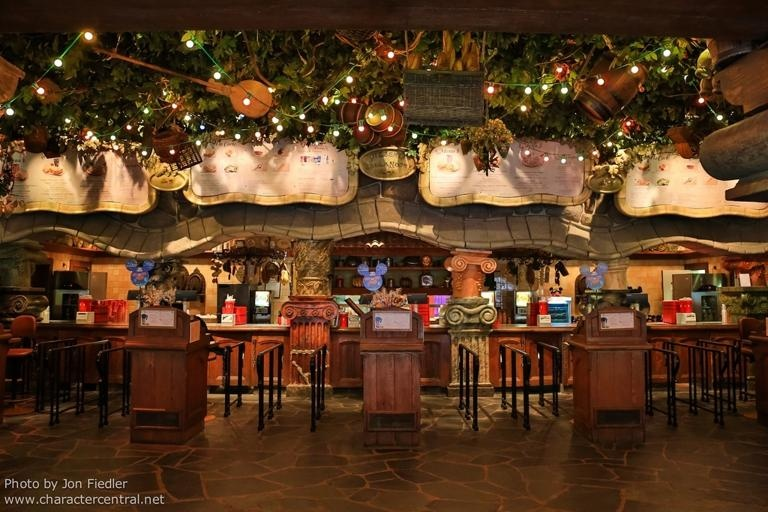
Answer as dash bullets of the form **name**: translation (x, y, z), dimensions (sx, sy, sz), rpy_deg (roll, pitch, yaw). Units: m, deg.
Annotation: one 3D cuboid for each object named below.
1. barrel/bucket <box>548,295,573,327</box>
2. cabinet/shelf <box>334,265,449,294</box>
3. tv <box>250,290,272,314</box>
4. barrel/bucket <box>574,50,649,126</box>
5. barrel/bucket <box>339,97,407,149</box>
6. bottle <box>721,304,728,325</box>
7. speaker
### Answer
- **barrel/bucket**: translation (3.606, 1.109, 12.205), dimensions (0.688, 0.585, 0.515), rpy_deg (0, -8, 1)
- **cabinet/shelf**: translation (0.188, 0.590, 15.383), dimensions (2.930, 0.723, 0.691), rpy_deg (0, -8, -2)
- **tv**: translation (-2.867, 1.048, 13.953), dimensions (0.393, 0.552, 0.230), rpy_deg (-1, -8, 7)
- **barrel/bucket**: translation (2.999, -2.398, 8.110), dimensions (0.798, 0.908, 0.672), rpy_deg (28, 8, 0)
- **barrel/bucket**: translation (-0.131, -2.088, 9.456), dimensions (1.054, 0.632, 1.053), rpy_deg (-2, 10, 0)
- **bottle**: translation (6.927, 1.144, 12.169), dimensions (0.099, 0.385, 0.205), rpy_deg (-4, -9, 24)
- **speaker**: translation (0.943, -2.045, 7.568), dimensions (1.223, 0.674, 0.731), rpy_deg (11, 30, 32)
